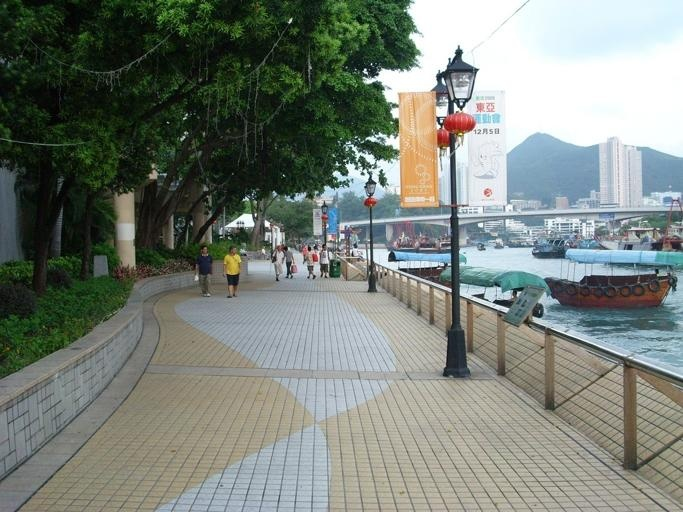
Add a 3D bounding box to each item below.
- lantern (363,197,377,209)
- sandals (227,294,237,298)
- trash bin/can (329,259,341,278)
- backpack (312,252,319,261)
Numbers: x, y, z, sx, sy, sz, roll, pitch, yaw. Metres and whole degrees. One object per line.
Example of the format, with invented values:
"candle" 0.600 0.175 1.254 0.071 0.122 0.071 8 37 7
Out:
"lantern" 1.383 -2.643 26.940 0.622 0.738 0.687 -1 -1 -7
"sandals" -4.025 1.455 21.322 0.126 0.181 0.431 -2 -4 3
"trash bin/can" -0.538 0.737 35.804 0.895 1.551 0.868 0 2 5
"backpack" -1.584 -0.136 35.456 0.423 0.645 0.830 -5 -13 -6
